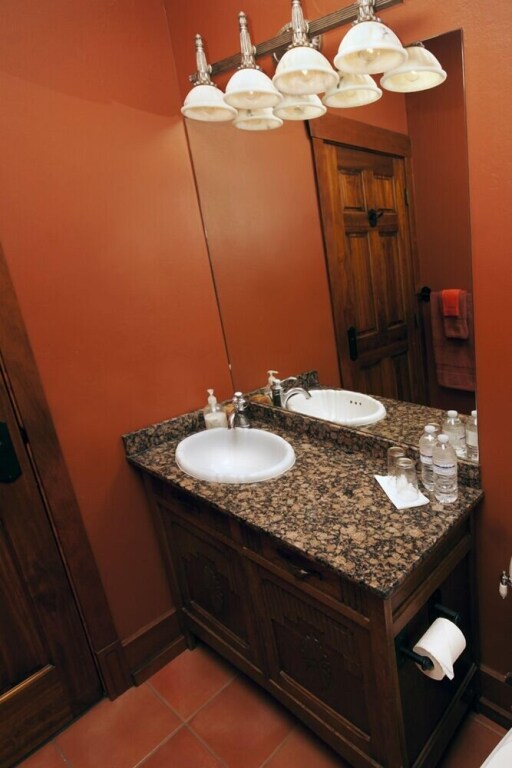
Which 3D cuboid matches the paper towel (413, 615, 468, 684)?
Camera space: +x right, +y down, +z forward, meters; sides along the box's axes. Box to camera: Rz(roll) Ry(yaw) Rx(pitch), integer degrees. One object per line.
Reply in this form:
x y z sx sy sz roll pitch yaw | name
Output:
0.427 0.625 1.329 0.091 0.094 0.116 -25 0 42 | paper towel

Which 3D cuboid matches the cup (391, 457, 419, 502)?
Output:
0.386 0.248 1.482 0.072 0.107 0.070 -11 20 4 | cup

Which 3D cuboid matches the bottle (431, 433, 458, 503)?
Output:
0.475 0.222 1.432 0.058 0.160 0.048 -7 15 16 | bottle
